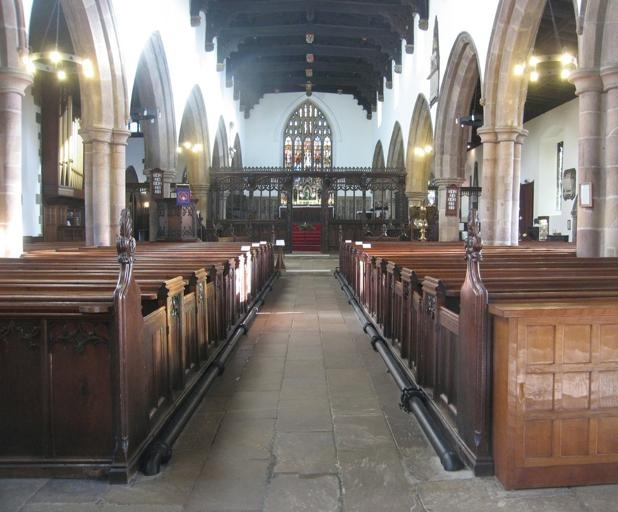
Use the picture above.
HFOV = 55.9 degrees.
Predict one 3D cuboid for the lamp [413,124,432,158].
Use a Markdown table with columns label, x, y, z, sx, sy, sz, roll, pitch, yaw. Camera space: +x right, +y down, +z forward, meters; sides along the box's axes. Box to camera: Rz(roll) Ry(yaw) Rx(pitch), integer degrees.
| label | x | y | z | sx | sy | sz | roll | pitch | yaw |
| --- | --- | --- | --- | --- | --- | --- | --- | --- | --- |
| lamp | 3.714 | -3.675 | 18.980 | 0.604 | 0.979 | 0.926 | 1 | 7 | 10 |

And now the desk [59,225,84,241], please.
| label | x | y | z | sx | sy | sz | roll | pitch | yaw |
| --- | --- | --- | --- | --- | --- | --- | --- | --- | --- |
| desk | -6.760 | -0.665 | 16.569 | 0.187 | 0.541 | 1.307 | 1 | 7 | 3 |
